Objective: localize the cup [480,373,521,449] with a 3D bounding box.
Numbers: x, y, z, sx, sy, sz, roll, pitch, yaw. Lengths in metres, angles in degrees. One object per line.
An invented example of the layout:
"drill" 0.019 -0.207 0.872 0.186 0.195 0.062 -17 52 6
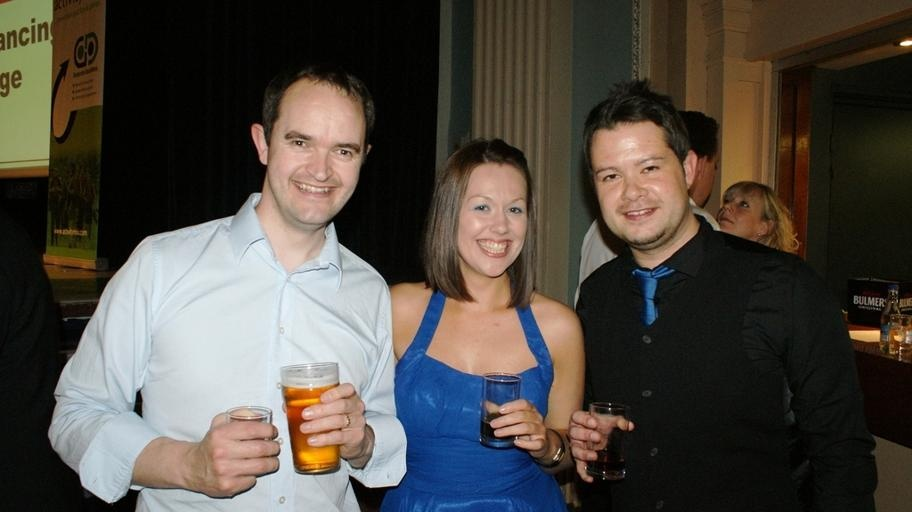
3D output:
"cup" 0.265 0.939 3.928 0.253 0.444 0.160 -1 3 6

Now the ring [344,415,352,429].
"ring" -0.591 0.921 3.592 0.025 0.060 0.050 -4 -4 -12
